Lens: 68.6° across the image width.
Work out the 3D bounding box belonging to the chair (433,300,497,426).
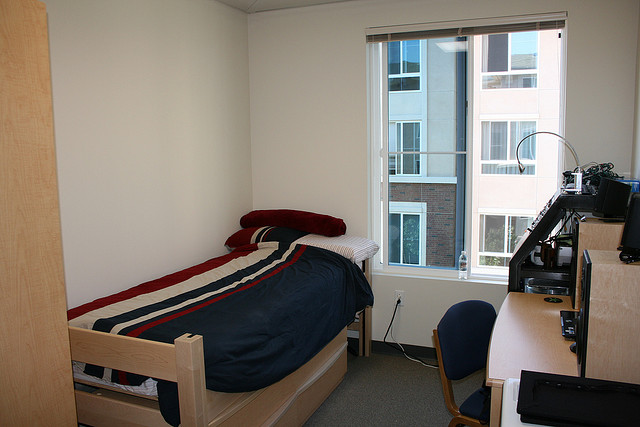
[{"bbox_3d":[0.826,0.837,2.690,0.311,0.611,0.521,4,8,21],"label":"chair"}]

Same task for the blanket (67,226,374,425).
[{"bbox_3d":[-0.426,0.554,2.968,0.986,0.473,1.235,6,13,29],"label":"blanket"}]

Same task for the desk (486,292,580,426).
[{"bbox_3d":[1.062,0.740,2.343,0.209,0.310,0.623,1,10,15],"label":"desk"}]

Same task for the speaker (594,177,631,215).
[{"bbox_3d":[1.763,-0.098,2.837,0.223,0.221,0.117,13,-3,-27],"label":"speaker"}]

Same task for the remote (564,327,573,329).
[{"bbox_3d":[1.381,0.638,2.612,0.039,0.006,0.015,2,7,5],"label":"remote"}]

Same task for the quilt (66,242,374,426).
[{"bbox_3d":[-0.416,0.588,2.900,0.931,0.340,1.150,5,8,28],"label":"quilt"}]

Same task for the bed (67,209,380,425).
[{"bbox_3d":[-0.516,0.809,3.088,1.213,1.198,1.848,4,8,23],"label":"bed"}]

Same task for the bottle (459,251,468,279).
[{"bbox_3d":[1.211,0.431,3.958,0.069,0.227,0.074,1,7,0],"label":"bottle"}]
